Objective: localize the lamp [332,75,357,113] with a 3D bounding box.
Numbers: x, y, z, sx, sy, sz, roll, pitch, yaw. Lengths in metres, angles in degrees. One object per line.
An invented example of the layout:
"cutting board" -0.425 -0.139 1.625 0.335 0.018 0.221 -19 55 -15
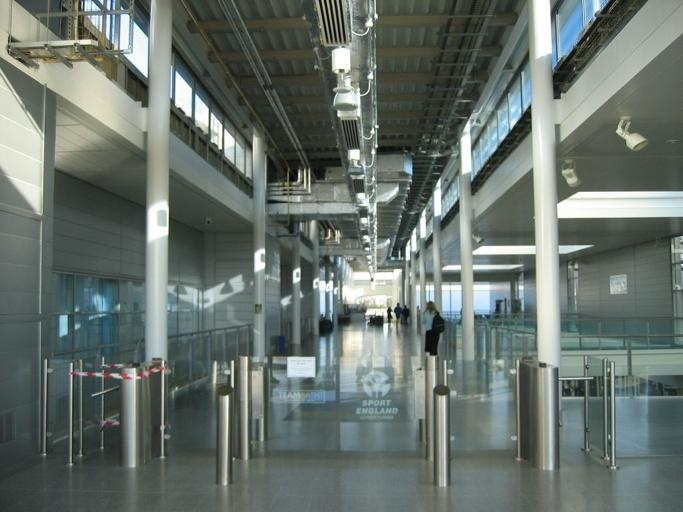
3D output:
"lamp" 0.088 -2.749 10.825 0.512 0.585 0.476 1 12 -8

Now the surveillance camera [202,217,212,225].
"surveillance camera" -4.421 -1.150 21.070 0.257 0.151 0.260 1 1 -2

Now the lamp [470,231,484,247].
"lamp" 4.921 -0.670 23.255 0.435 0.538 0.330 -4 -26 10

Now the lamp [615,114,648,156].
"lamp" 5.517 -2.349 12.172 0.295 0.518 0.407 11 -47 -21
